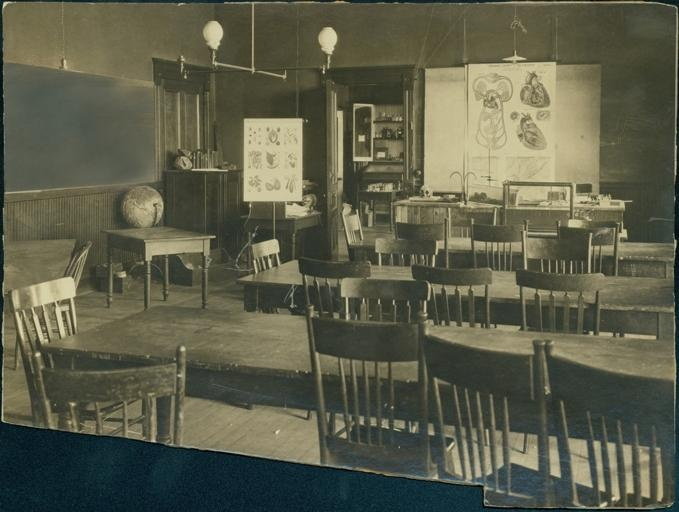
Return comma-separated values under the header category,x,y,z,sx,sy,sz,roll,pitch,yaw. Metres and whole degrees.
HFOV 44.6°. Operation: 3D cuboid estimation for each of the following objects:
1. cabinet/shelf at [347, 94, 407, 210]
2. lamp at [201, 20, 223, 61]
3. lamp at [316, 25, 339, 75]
category,x,y,z,sx,sy,sz,roll,pitch,yaw
cabinet/shelf,0.305,-0.747,6.389,0.379,0.849,0.211,5,13,9
lamp,-0.728,-1.210,4.715,0.120,0.256,0.122,7,12,32
lamp,-0.064,-1.176,4.650,0.114,0.236,0.113,-29,45,-31
